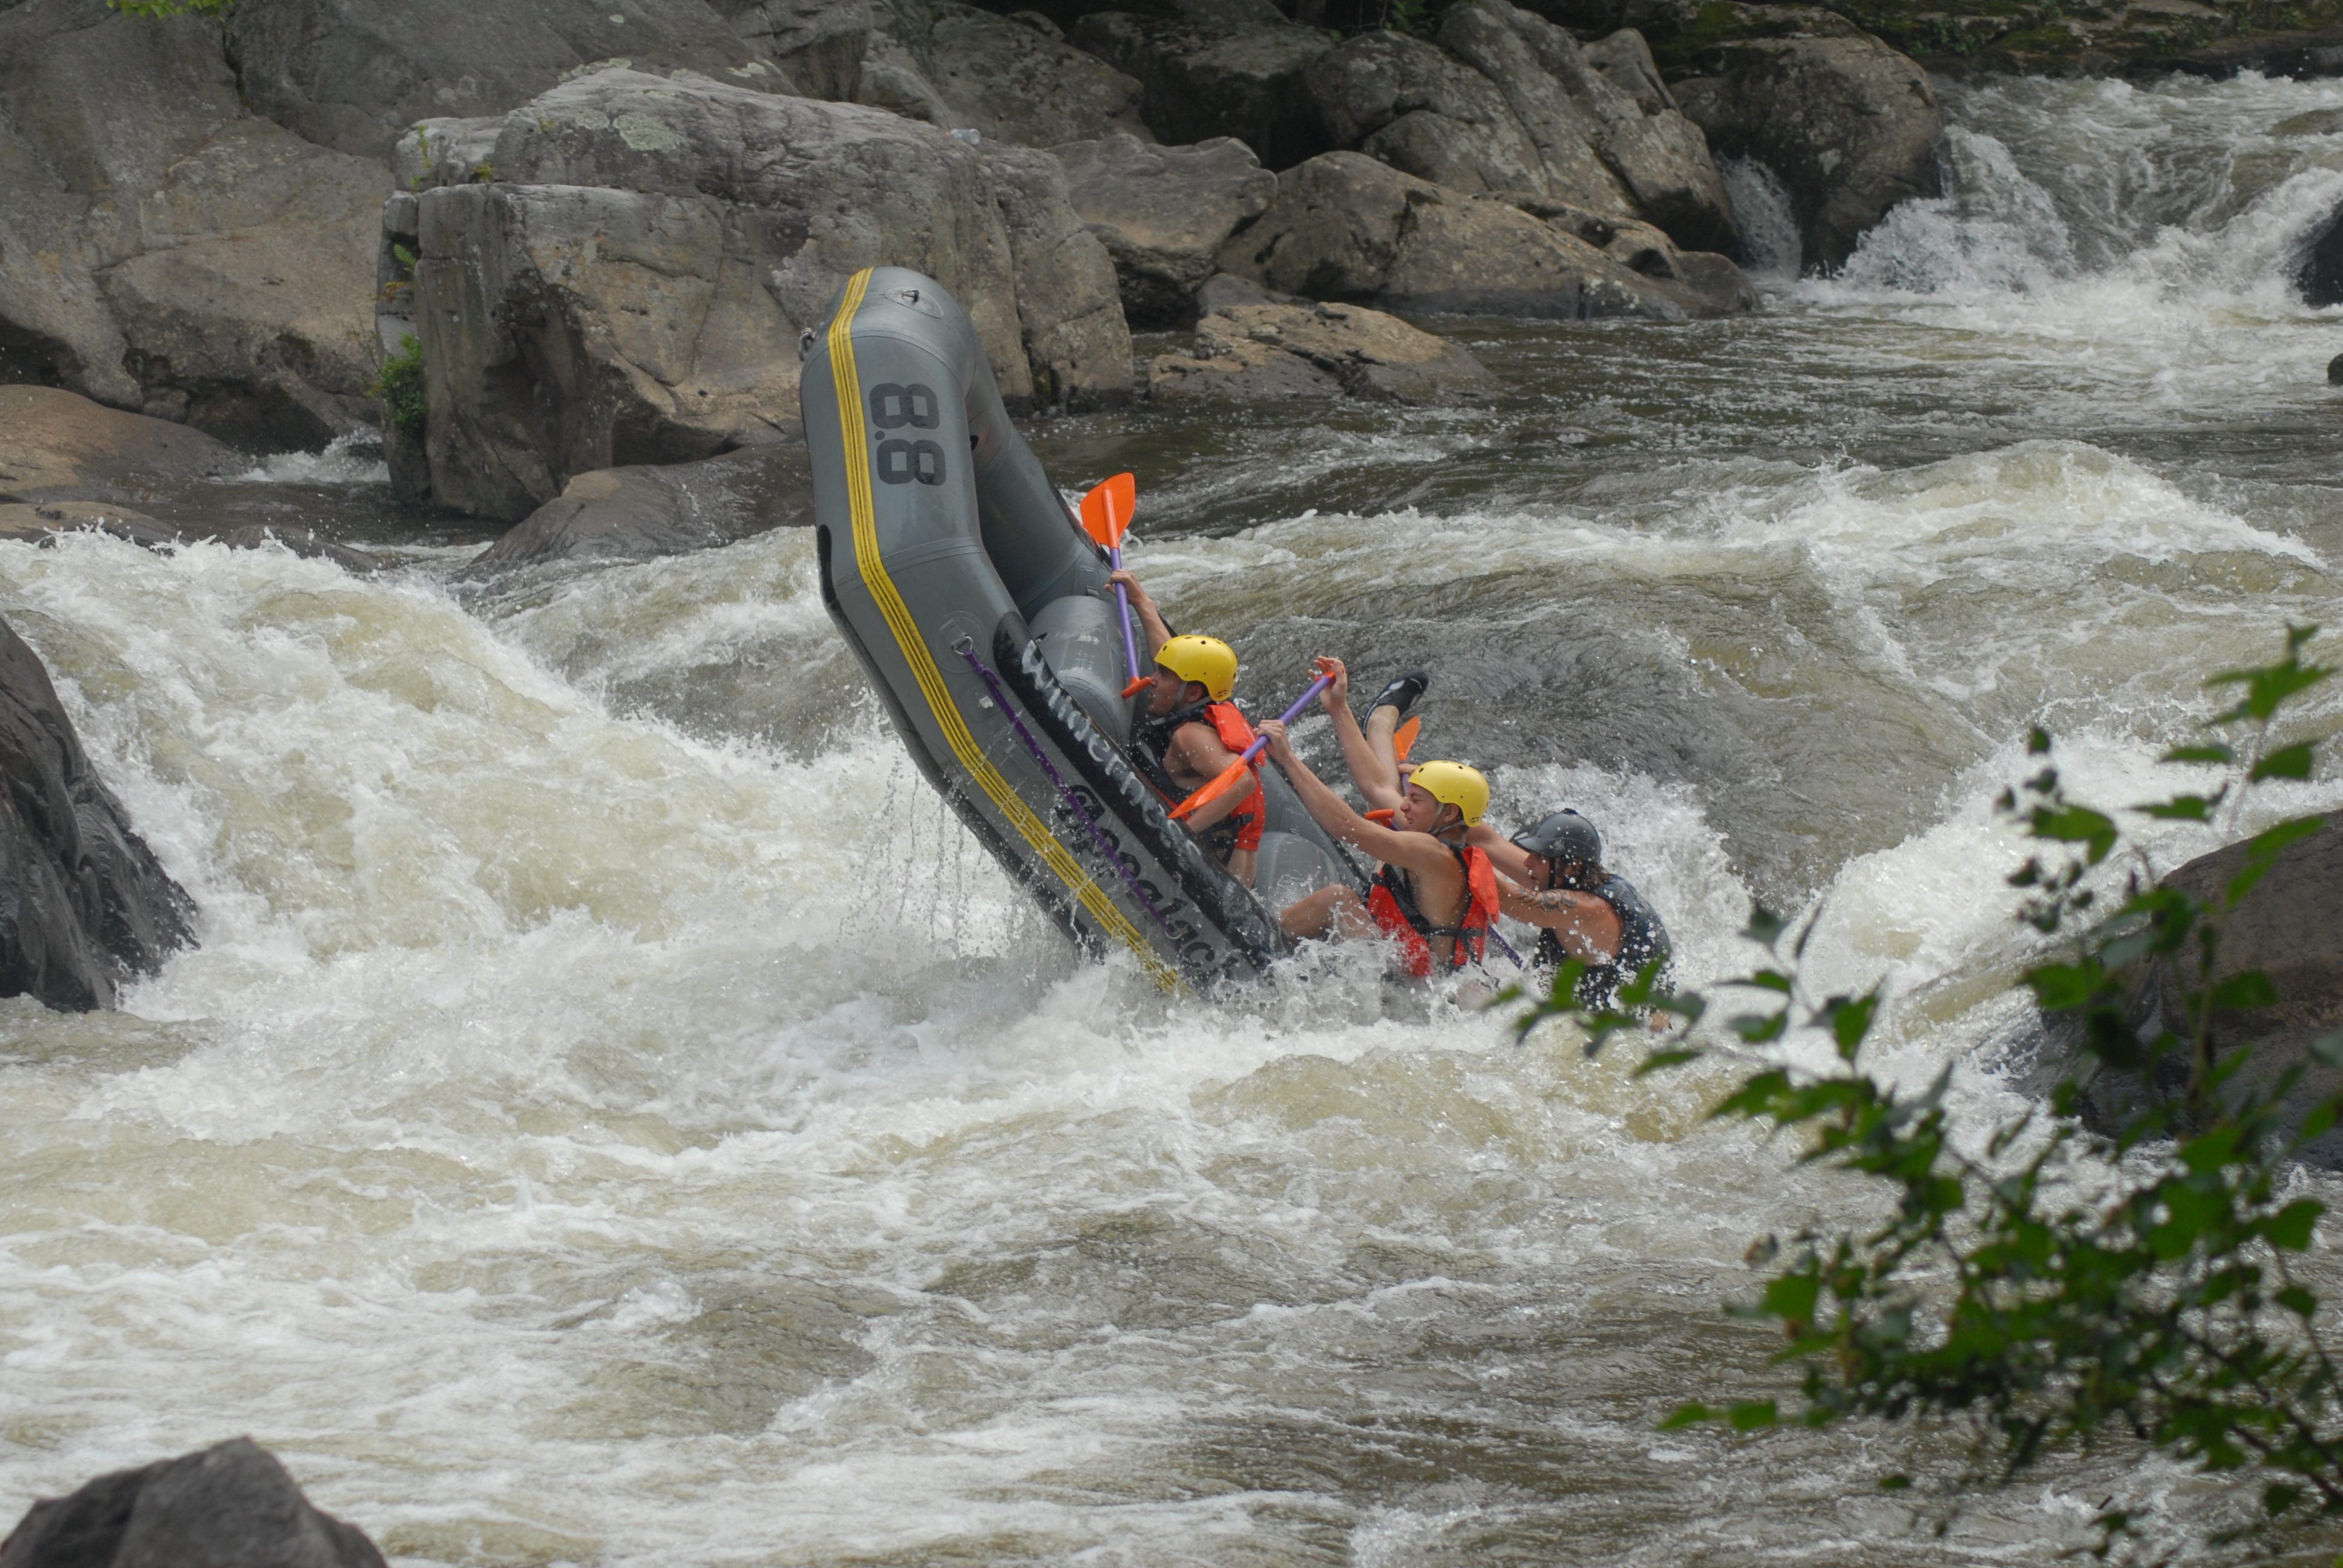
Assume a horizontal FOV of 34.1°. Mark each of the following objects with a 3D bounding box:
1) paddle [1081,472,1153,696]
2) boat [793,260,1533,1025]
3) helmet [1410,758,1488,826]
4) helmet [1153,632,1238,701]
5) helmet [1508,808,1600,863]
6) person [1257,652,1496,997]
[{"bbox_3d":[-0.370,-1.469,24.846,0.457,1.498,0.176,-2,-35,-5],"label":"paddle"},{"bbox_3d":[-0.917,-0.828,23.899,1.835,5.300,2.759,-37,18,16],"label":"boat"},{"bbox_3d":[1.743,0.030,23.531,0.512,0.320,0.364,8,20,-11],"label":"helmet"},{"bbox_3d":[0.200,-0.743,24.020,0.391,0.494,0.361,-43,6,-3],"label":"helmet"},{"bbox_3d":[2.420,0.323,23.751,0.513,0.243,0.302,13,5,2],"label":"helmet"},{"bbox_3d":[1.367,0.203,23.649,1.189,1.920,0.617,-2,12,27],"label":"person"}]
